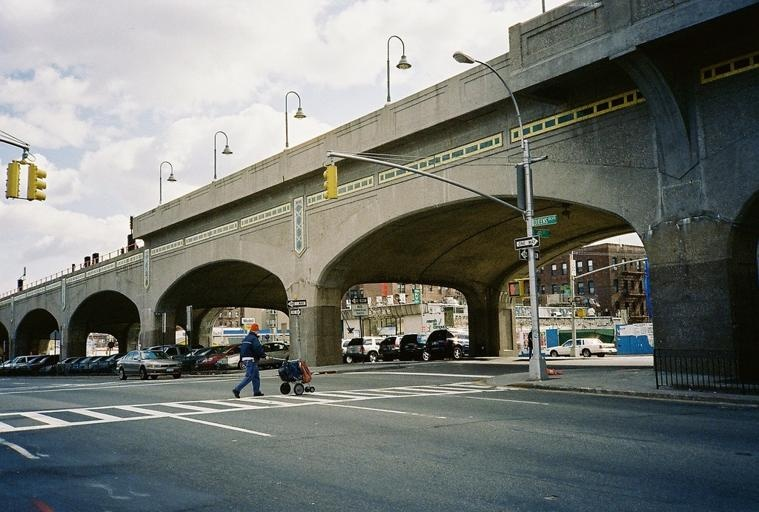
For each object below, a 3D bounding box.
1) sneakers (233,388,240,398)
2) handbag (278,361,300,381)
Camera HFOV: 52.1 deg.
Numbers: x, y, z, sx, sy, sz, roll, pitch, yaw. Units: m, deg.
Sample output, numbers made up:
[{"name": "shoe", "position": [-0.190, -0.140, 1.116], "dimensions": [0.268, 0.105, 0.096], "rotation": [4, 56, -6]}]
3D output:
[{"name": "sneakers", "position": [-4.807, 4.626, 26.241], "dimensions": [0.193, 0.161, 0.450], "rotation": [-42, -3, -6]}, {"name": "handbag", "position": [-3.210, 4.022, 27.050], "dimensions": [0.600, 0.697, 0.699], "rotation": [-8, -14, 42]}]
